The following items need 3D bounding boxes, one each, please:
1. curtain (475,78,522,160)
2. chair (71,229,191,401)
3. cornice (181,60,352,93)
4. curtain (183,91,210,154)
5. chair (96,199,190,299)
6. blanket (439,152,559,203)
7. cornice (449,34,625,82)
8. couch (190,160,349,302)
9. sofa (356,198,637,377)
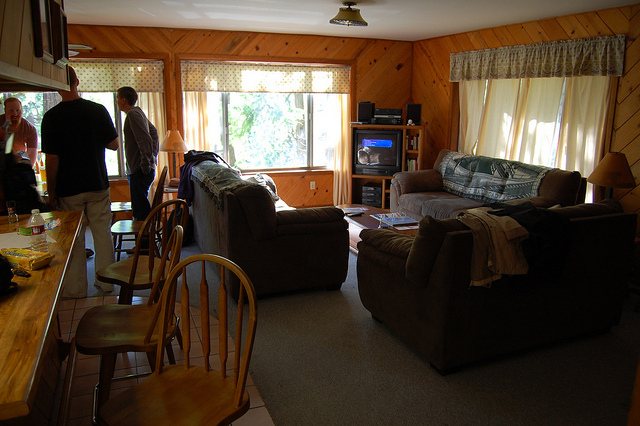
[{"bbox_3d":[2.646,-1.398,6.902,0.162,1.013,0.707,-3,15,-19],"label":"curtain"},{"bbox_3d":[-1.334,0.734,3.263,0.688,1.332,0.725,13,12,-20],"label":"chair"},{"bbox_3d":[-0.804,-2.149,7.385,2.654,0.438,0.167,-3,12,-15],"label":"cornice"},{"bbox_3d":[-1.915,-1.436,7.258,0.415,0.897,0.178,-6,13,-27],"label":"curtain"},{"bbox_3d":[-1.551,0.311,4.033,0.747,1.136,0.697,4,13,-8],"label":"chair"},{"bbox_3d":[2.253,-0.489,6.164,0.529,0.596,1.984,-4,15,-24],"label":"blanket"},{"bbox_3d":[2.795,-2.031,6.197,2.110,0.466,0.157,3,-12,22],"label":"cornice"},{"bbox_3d":[-0.501,-0.360,4.750,1.224,1.095,2.107,-6,13,-25],"label":"couch"},{"bbox_3d":[1.520,0.478,4.234,2.158,1.163,3.120,8,9,30],"label":"sofa"}]
